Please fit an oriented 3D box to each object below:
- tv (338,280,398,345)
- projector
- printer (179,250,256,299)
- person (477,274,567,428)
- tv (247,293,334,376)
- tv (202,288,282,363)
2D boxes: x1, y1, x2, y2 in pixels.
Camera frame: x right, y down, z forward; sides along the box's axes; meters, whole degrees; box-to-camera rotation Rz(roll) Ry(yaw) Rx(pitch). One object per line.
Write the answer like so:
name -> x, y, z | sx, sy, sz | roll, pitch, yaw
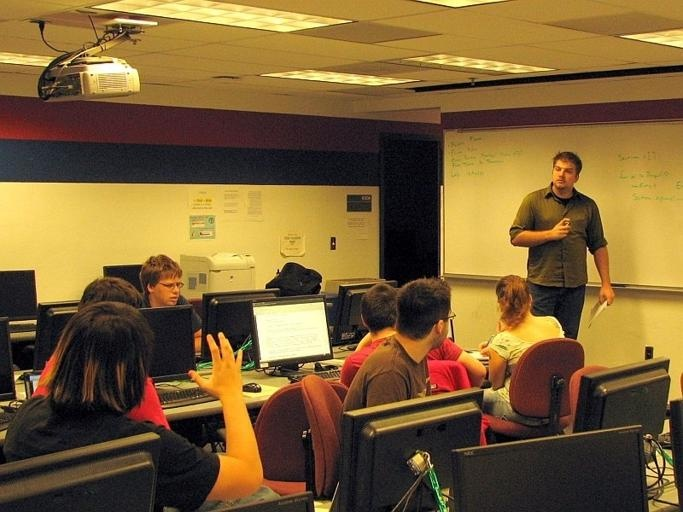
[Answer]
tv -> 0.157, 0.472, 4.816 | 0.617, 0.555, 0.329 | -3, 14, -41
projector -> -1.869, -1.318, 3.956 | 0.482, 0.297, 0.660 | 7, 17, 29
printer -> -1.600, 0.269, 6.966 | 1.080, 0.572, 1.054 | -1, 4, -7
person -> 1.293, 0.705, 3.989 | 0.739, 0.941, 0.743 | -5, -8, 0
tv -> -0.370, 0.549, 3.852 | 0.681, 0.486, 0.209 | 0, -1, -40
tv -> -0.729, 0.579, 4.095 | 0.201, 0.608, 0.716 | 14, 12, 42
